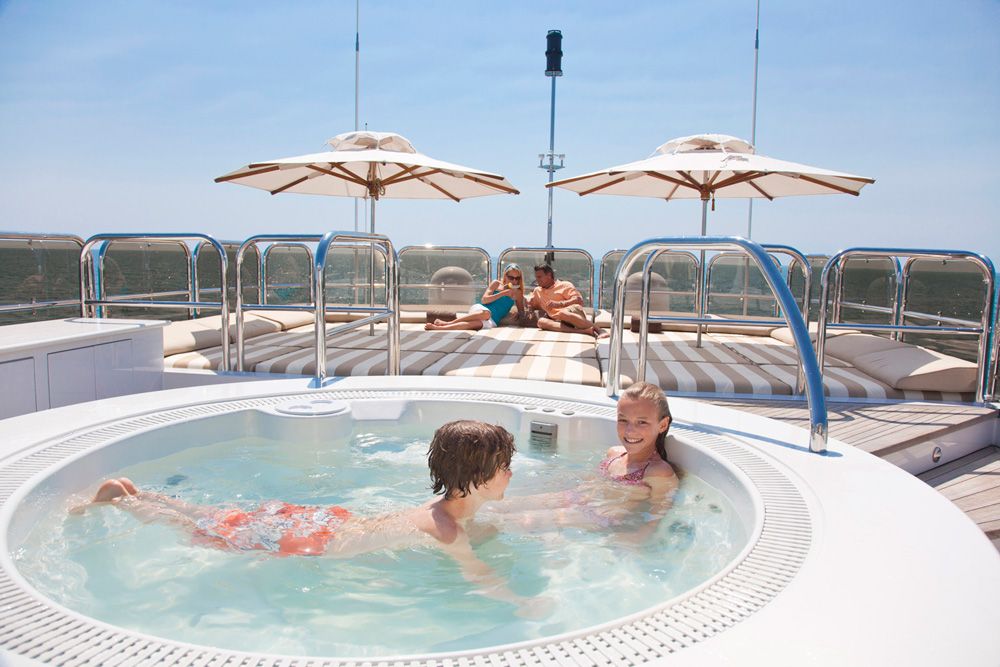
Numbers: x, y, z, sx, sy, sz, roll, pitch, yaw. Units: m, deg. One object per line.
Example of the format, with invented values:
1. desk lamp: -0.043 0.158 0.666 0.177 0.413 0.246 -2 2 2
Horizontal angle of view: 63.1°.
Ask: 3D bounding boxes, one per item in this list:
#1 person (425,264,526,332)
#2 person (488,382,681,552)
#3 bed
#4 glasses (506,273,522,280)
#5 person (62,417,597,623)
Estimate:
1. person: -0.143 -0.366 9.395 1.462 0.696 0.553 -11 29 -42
2. person: 0.402 0.786 4.788 1.413 0.890 0.714 -1 6 -29
3. bed: 0.347 0.151 7.947 7.097 0.696 4.043 -1 3 -3
4. glasses: 0.170 -0.672 9.492 0.189 0.091 0.103 -2 4 -16
5. person: -0.881 0.907 4.620 2.759 0.908 1.002 3 19 -4
